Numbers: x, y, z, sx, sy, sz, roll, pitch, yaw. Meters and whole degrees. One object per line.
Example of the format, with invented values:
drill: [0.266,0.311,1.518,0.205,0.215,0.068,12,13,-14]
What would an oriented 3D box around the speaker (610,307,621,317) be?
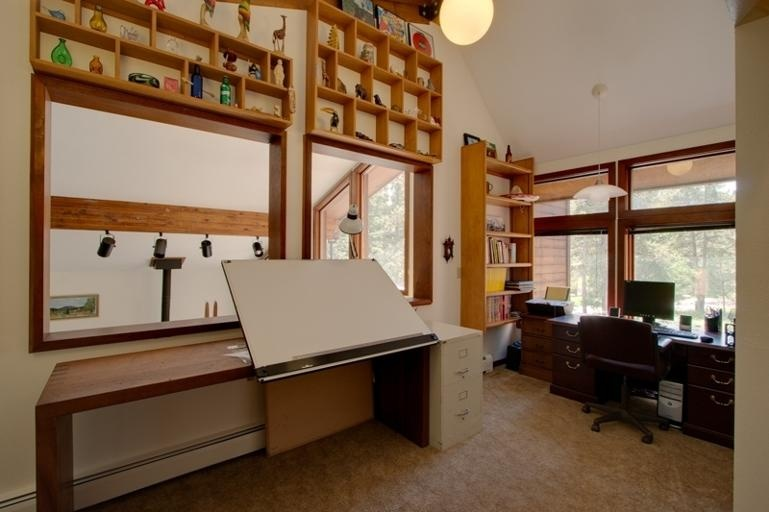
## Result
speaker: [2.474,0.603,5.714,0.042,0.080,0.080,7,-7,-35]

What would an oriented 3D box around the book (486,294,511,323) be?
book: [1.290,0.606,6.120,0.184,0.328,0.339,-4,-9,39]

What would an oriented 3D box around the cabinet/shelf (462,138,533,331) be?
cabinet/shelf: [1.330,-0.216,6.195,0.439,2.189,1.059,-1,1,43]

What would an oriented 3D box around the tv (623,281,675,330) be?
tv: [2.682,0.492,5.390,0.439,0.466,0.150,-1,-6,45]

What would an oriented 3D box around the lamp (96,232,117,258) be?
lamp: [-2.930,-0.136,5.579,0.150,0.218,0.222,20,15,-46]

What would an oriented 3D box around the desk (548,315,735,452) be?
desk: [2.542,1.090,5.305,1.200,1.091,1.698,-6,8,-40]

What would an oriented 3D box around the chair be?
chair: [2.288,1.116,5.122,0.753,1.141,0.636,-1,1,28]

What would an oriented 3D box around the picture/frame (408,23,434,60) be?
picture/frame: [0.370,-2.267,5.597,0.490,0.352,0.048,4,-9,-42]

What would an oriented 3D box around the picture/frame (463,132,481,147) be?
picture/frame: [0.987,-1.329,6.065,0.164,0.188,0.418,-1,1,17]

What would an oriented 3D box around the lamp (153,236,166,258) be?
lamp: [-2.513,-0.109,5.974,0.126,0.244,0.413,-2,1,-23]

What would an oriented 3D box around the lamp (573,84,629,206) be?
lamp: [2.252,-1.187,5.588,0.505,1.252,1.079,-1,1,22]

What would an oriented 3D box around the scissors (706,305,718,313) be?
scissors: [3.259,0.532,5.298,0.087,0.022,0.085,-1,10,14]

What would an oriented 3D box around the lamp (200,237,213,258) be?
lamp: [-2.127,-0.113,6.360,0.123,0.222,0.465,-2,1,-19]

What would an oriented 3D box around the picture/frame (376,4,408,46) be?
picture/frame: [0.058,-2.342,5.368,0.511,0.311,0.052,13,-22,-41]

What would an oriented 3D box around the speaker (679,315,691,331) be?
speaker: [2.995,0.667,5.292,0.156,0.152,0.125,2,-1,42]
